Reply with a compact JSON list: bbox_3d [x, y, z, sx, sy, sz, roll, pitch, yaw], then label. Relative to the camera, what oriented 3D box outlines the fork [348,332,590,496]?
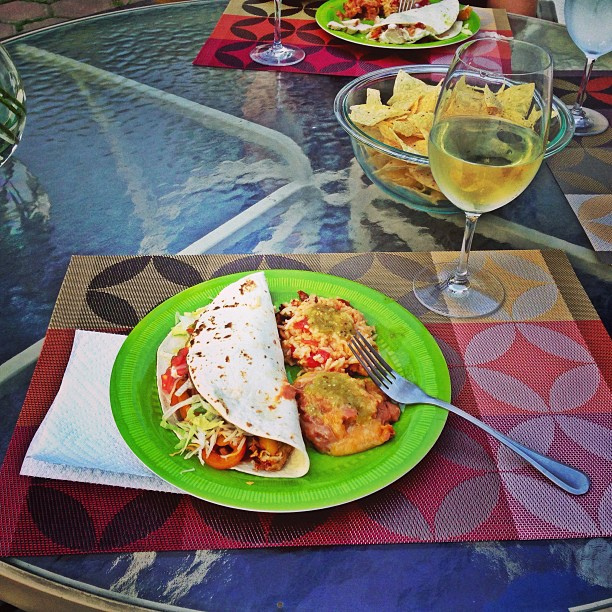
[{"bbox_3d":[0.209,0.150,0.779,0.364,0.045,0.049,33,47,23],"label":"fork"}]

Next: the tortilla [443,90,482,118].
[{"bbox_3d":[0.244,-0.309,0.855,0.049,0.015,0.040,18,58,-6],"label":"tortilla"}]

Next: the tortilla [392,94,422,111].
[{"bbox_3d":[0.209,-0.426,1.166,0.041,0.012,0.058,27,68,37],"label":"tortilla"}]

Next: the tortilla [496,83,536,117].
[{"bbox_3d":[0.314,-0.316,0.844,0.052,0.060,0.019,9,52,14],"label":"tortilla"}]

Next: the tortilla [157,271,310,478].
[{"bbox_3d":[-0.102,0.107,0.885,0.247,0.068,0.392,-7,44,-9],"label":"tortilla"}]

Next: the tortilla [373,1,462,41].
[{"bbox_3d":[0.345,-0.874,1.707,0.228,0.078,0.228,-11,31,-22],"label":"tortilla"}]

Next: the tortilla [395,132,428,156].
[{"bbox_3d":[0.201,-0.311,1.065,0.066,0.049,0.020,41,91,23],"label":"tortilla"}]

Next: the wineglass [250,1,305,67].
[{"bbox_3d":[-0.093,-0.832,1.679,0.165,0.132,0.271,-4,44,1],"label":"wineglass"}]

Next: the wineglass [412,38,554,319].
[{"bbox_3d":[0.294,-0.190,0.961,0.210,0.381,0.172,13,33,16],"label":"wineglass"}]
